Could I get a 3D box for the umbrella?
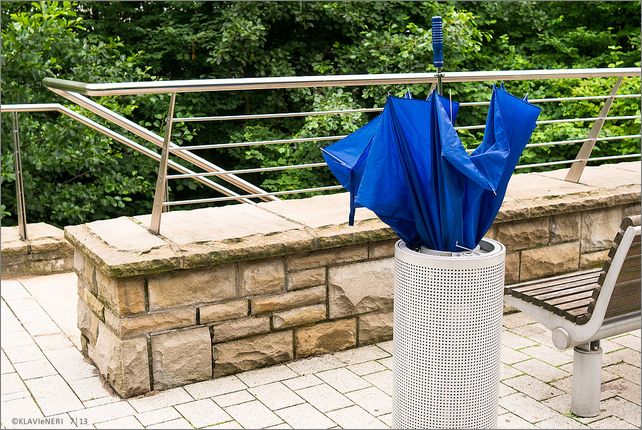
[{"bbox_3d":[0.818,-0.563,6.522,1.925,1.998,1.616,0,5,-4],"label":"umbrella"}]
